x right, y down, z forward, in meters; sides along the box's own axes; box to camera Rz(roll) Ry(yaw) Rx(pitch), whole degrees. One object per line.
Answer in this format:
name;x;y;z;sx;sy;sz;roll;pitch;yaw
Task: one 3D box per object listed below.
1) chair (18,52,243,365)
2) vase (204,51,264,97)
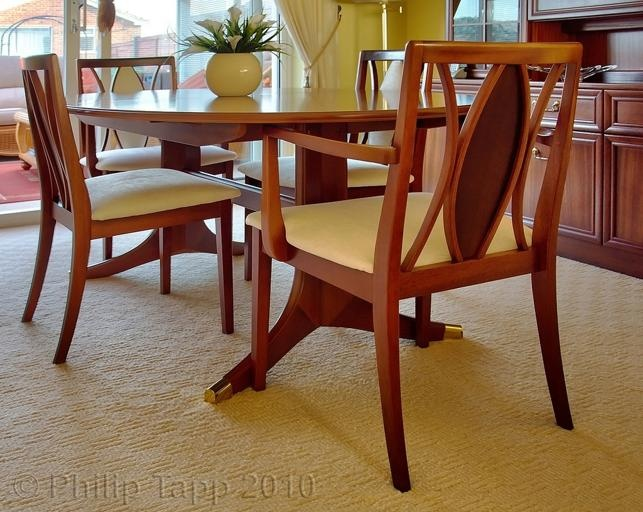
chair;-0.844;-0.330;2.375;1.031;1.480;0.858;-7;19;-31
vase;-0.319;-0.644;1.862;0.161;0.118;0.177;6;12;29
